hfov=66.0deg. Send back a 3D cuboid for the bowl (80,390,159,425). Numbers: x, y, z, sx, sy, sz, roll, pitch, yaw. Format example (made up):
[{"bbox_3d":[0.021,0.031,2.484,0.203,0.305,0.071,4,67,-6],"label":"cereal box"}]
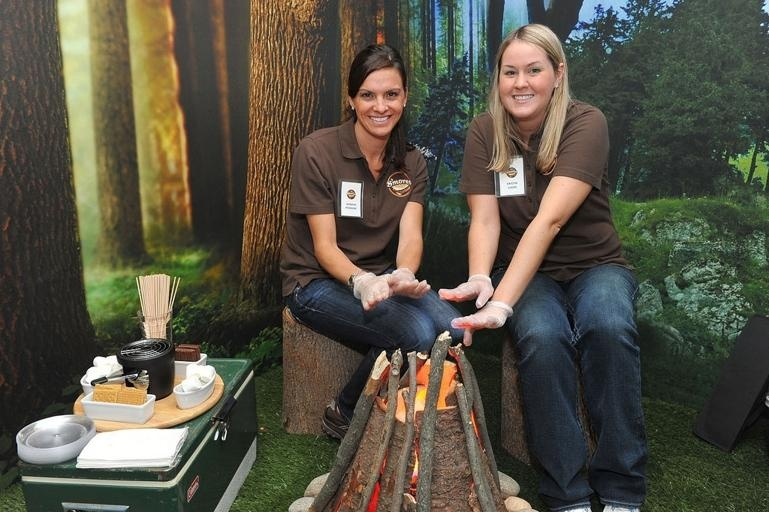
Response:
[{"bbox_3d":[-1.266,0.722,2.775,0.259,0.089,0.149,4,-2,2],"label":"bowl"}]

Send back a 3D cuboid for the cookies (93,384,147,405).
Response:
[{"bbox_3d":[-1.251,0.631,2.791,0.173,0.057,0.115,6,-10,-5],"label":"cookies"}]

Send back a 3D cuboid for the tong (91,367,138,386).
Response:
[{"bbox_3d":[-1.291,0.583,2.820,0.095,0.064,0.176,11,21,43],"label":"tong"}]

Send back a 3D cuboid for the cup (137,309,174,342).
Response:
[{"bbox_3d":[-1.181,0.355,3.057,0.144,0.173,0.157,1,9,0],"label":"cup"}]

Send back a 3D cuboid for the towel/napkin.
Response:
[{"bbox_3d":[-1.128,0.851,2.631,0.257,0.067,0.207,1,11,1],"label":"towel/napkin"}]

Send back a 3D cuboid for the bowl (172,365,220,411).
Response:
[{"bbox_3d":[-0.943,0.639,2.974,0.162,0.119,0.304,4,14,2],"label":"bowl"}]

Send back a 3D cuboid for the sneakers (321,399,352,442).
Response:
[{"bbox_3d":[-0.291,0.962,3.432,0.097,0.264,0.221,-11,22,-32],"label":"sneakers"}]

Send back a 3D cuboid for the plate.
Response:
[{"bbox_3d":[-1.471,0.813,2.648,0.235,0.097,0.231,3,8,-40],"label":"plate"}]

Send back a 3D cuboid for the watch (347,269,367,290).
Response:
[{"bbox_3d":[-0.146,0.129,3.227,0.089,0.080,0.100,-10,21,-28],"label":"watch"}]

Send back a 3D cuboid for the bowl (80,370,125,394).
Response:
[{"bbox_3d":[-1.356,0.614,2.866,0.207,0.072,0.104,6,2,-27],"label":"bowl"}]
